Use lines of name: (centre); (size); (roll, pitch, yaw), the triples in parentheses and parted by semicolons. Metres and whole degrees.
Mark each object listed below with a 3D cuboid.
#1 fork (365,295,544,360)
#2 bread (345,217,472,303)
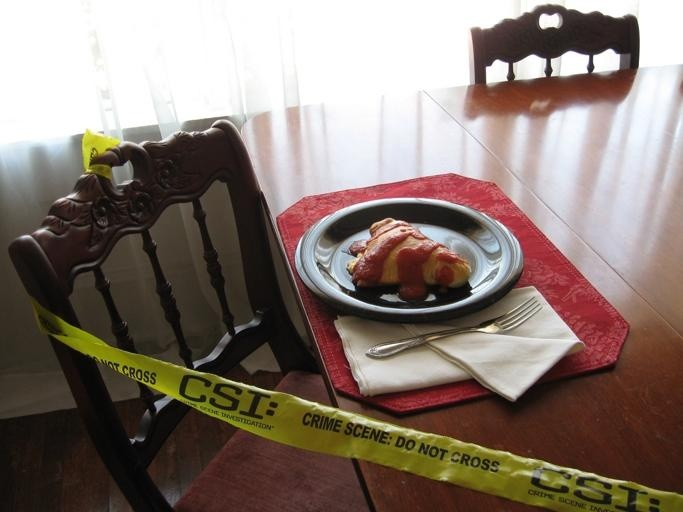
fork: (0.163, 0.109, 0.718); (0.170, 0.025, 0.023); (-21, 31, 7)
bread: (0.103, 0.005, 0.837); (0.198, 0.058, 0.203); (-2, 12, -2)
